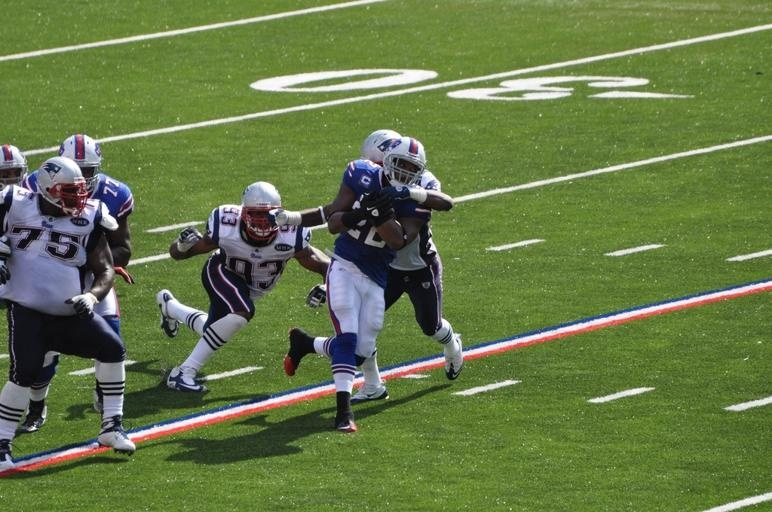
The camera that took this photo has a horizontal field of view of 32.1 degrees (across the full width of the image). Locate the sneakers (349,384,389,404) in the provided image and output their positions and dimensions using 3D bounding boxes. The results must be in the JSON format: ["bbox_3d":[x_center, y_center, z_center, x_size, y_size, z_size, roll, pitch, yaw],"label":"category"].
[{"bbox_3d":[-0.193,1.209,11.715,0.417,0.131,0.121,-4,5,-11],"label":"sneakers"}]

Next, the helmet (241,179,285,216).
[{"bbox_3d":[-1.087,-0.499,11.791,0.270,0.214,0.317,1,-17,-28],"label":"helmet"}]

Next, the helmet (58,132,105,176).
[{"bbox_3d":[-2.610,-0.896,11.511,0.375,0.321,0.420,-3,35,-18],"label":"helmet"}]

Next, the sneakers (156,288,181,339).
[{"bbox_3d":[-2.029,0.539,12.652,0.193,0.445,0.225,-20,22,-27],"label":"sneakers"}]

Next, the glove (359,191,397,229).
[{"bbox_3d":[-0.063,-0.402,11.193,0.278,0.306,0.242,-4,14,0],"label":"glove"}]

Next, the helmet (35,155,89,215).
[{"bbox_3d":[-2.579,-0.578,10.752,0.496,0.335,0.308,17,12,10],"label":"helmet"}]

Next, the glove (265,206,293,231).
[{"bbox_3d":[-0.911,-0.325,11.427,0.168,0.099,0.206,10,8,-34],"label":"glove"}]

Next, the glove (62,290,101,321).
[{"bbox_3d":[-2.332,0.383,10.694,0.294,0.171,0.325,14,6,1],"label":"glove"}]

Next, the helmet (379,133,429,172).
[{"bbox_3d":[0.158,-0.884,11.475,0.293,0.251,0.368,21,-2,-29],"label":"helmet"}]

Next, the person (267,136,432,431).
[{"bbox_3d":[-0.238,0.199,11.442,1.230,2.359,0.883,-16,19,-35],"label":"person"}]

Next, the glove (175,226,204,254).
[{"bbox_3d":[-1.739,-0.149,12.023,0.276,0.170,0.157,-32,27,31],"label":"glove"}]

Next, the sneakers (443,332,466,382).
[{"bbox_3d":[0.600,0.898,12.064,0.171,0.401,0.208,13,24,33],"label":"sneakers"}]
